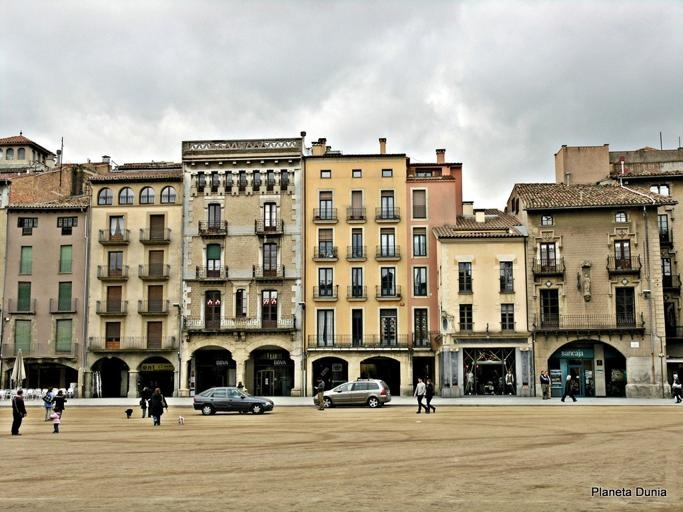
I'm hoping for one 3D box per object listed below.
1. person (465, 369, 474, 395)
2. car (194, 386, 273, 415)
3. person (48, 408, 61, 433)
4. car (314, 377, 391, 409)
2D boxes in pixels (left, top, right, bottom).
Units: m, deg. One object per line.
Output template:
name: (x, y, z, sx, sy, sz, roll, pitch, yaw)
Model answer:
person: (8.438, 8.159, 71.730, 0.518, 1.559, 0.161, -1, -12, 4)
car: (-6.082, 8.099, 61.461, 3.907, 1.261, 1.796, -1, -7, 1)
person: (-12.877, 7.301, 49.055, 0.373, 1.049, 1.694, 2, -12, -13)
car: (0.932, 8.081, 65.218, 3.540, 1.350, 1.913, 2, -8, 4)
